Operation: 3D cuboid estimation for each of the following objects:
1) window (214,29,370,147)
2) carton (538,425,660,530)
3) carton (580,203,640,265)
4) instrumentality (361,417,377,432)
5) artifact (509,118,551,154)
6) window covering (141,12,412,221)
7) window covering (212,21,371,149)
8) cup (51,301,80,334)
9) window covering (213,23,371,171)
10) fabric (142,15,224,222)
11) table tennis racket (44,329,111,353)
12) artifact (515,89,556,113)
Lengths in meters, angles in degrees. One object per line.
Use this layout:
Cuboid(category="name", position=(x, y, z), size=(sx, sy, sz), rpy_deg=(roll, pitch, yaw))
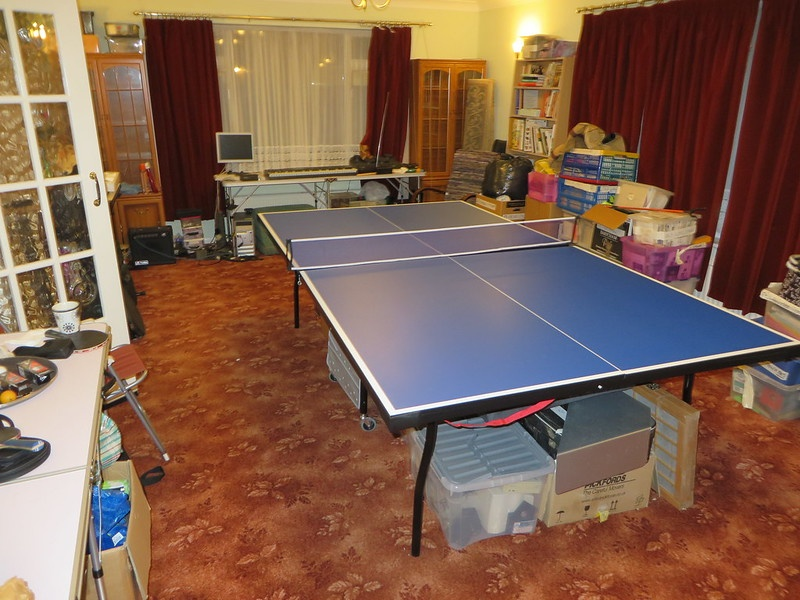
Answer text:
Cuboid(category="window", position=(-1.401, -2.675, 7.119), size=(1.908, 1.356, 0.134), rpy_deg=(-4, 27, -15))
Cuboid(category="carton", position=(1.008, 0.967, 2.940), size=(0.552, 0.380, 0.258), rpy_deg=(-3, 27, -10))
Cuboid(category="carton", position=(1.642, -0.567, 4.662), size=(0.439, 0.419, 0.594), rpy_deg=(-4, 23, -11))
Cuboid(category="instrumentality", position=(-0.192, 0.767, 3.550), size=(0.090, 0.024, 0.087), rpy_deg=(-15, 34, -25))
Cuboid(category="artifact", position=(1.567, -1.942, 6.835), size=(0.193, 0.402, 0.823), rpy_deg=(-9, 24, -18))
Cuboid(category="window covering", position=(-1.567, -2.253, 6.864), size=(3.107, 2.311, 0.171), rpy_deg=(-11, 26, -30))
Cuboid(category="window covering", position=(-1.319, -2.617, 7.196), size=(2.045, 1.464, 0.097), rpy_deg=(-2, 10, -3))
Cuboid(category="cup", position=(-1.534, 0.065, 2.673), size=(0.143, 0.153, 0.142), rpy_deg=(5, 18, -2))
Cuboid(category="window covering", position=(-1.254, -2.530, 7.236), size=(2.096, 1.759, 0.142), rpy_deg=(-10, 21, -19))
Cuboid(category="fabric", position=(-2.444, -2.040, 6.670), size=(0.808, 2.216, 0.419), rpy_deg=(-8, 25, -14))
Cuboid(category="table tennis racket", position=(-1.465, 0.175, 2.626), size=(0.211, 0.022, 0.123), rpy_deg=(5, 15, 11))
Cuboid(category="artifact", position=(1.577, -2.291, 6.676), size=(0.207, 0.292, 0.721), rpy_deg=(-9, 24, -17))
